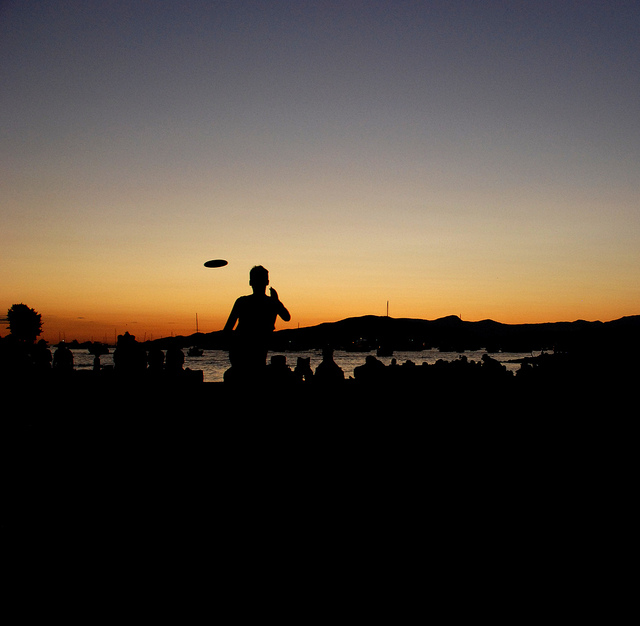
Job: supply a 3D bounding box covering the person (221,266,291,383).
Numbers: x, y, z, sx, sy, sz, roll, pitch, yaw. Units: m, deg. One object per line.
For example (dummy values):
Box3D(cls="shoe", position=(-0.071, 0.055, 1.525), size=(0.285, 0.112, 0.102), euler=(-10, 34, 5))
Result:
Box3D(cls="person", position=(-0.664, 0.430, 10.068), size=(0.562, 1.905, 0.579), euler=(2, 32, -13))
